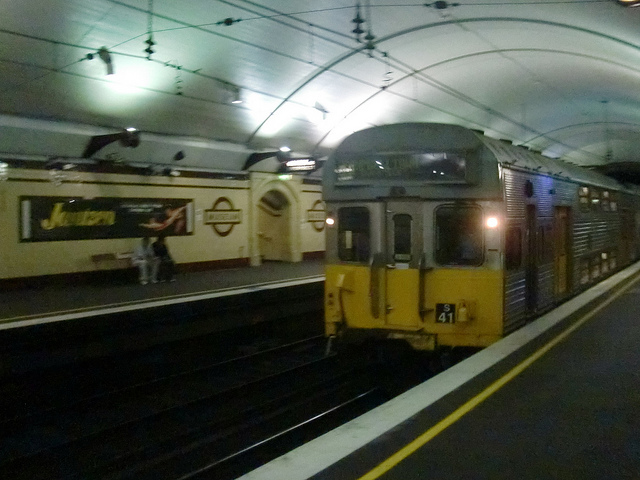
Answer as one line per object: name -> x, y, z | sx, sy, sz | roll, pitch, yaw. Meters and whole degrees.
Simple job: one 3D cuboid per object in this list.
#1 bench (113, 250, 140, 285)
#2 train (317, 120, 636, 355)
bench -> -6.042, 0.852, 15.285 | 0.510, 0.814, 0.950 | 15, 24, 40
train -> 5.134, -0.725, 13.423 | 3.077, 3.134, 12.903 | 2, 7, 36
